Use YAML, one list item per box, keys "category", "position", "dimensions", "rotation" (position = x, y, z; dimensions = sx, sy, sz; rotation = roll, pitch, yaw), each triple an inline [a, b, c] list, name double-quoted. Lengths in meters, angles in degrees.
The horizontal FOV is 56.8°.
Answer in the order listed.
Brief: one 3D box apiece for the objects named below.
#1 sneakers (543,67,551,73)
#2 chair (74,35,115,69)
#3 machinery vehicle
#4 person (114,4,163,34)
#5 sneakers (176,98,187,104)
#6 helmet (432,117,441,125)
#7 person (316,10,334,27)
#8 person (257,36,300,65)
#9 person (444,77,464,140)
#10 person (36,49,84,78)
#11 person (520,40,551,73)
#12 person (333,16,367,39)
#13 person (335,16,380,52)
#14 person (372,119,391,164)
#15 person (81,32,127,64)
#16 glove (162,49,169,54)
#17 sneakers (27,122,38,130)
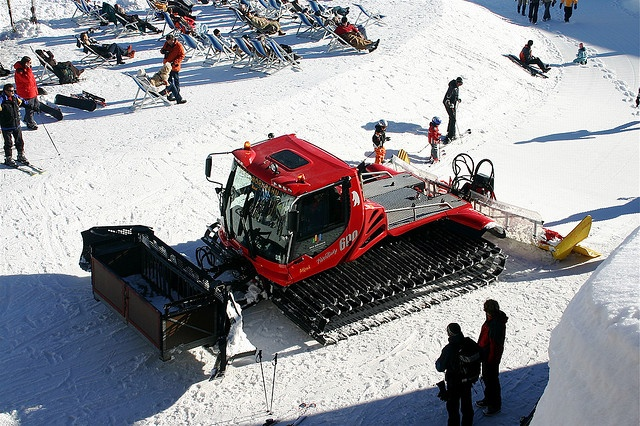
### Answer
- category: "sneakers"
  position: [9.137, -5.785, 23.827]
  dimensions: [0.154, 0.208, 0.474]
  rotation: [14, 36, 30]
- category: "chair"
  position: [-7.998, -5.760, 20.968]
  dimensions: [1.597, 1.135, 1.067]
  rotation: [-7, 36, -14]
- category: "machinery vehicle"
  position: [0.435, 0.028, 13.110]
  dimensions: [9.875, 3.080, 6.425]
  rotation: [-14, 24, -31]
- category: "person"
  position: [-7.348, -7.840, 23.810]
  dimensions: [2.247, 1.402, 0.918]
  rotation: [-4, 25, -6]
- category: "sneakers"
  position: [-4.350, -3.493, 18.484]
  dimensions: [0.105, 0.141, 0.317]
  rotation: [21, 31, 39]
- category: "helmet"
  position: [3.368, -2.678, 17.068]
  dimensions: [0.265, 0.242, 0.221]
  rotation: [-5, 73, -18]
- category: "person"
  position: [0.196, -7.625, 23.230]
  dimensions: [0.780, 0.366, 1.068]
  rotation: [27, 21, 21]
- category: "person"
  position: [-1.603, -5.722, 21.020]
  dimensions: [1.454, 0.915, 1.025]
  rotation: [3, 4, -15]
- category: "person"
  position: [4.056, -3.178, 18.261]
  dimensions: [0.577, 1.878, 1.083]
  rotation: [11, 46, 10]
- category: "person"
  position: [-8.691, -4.962, 19.283]
  dimensions: [1.458, 0.740, 0.525]
  rotation: [-19, 18, -22]
- category: "person"
  position: [8.638, -6.269, 23.753]
  dimensions: [1.242, 0.887, 0.809]
  rotation: [18, 48, 16]
- category: "person"
  position: [1.083, -6.914, 22.990]
  dimensions: [1.130, 0.612, 0.881]
  rotation: [36, 67, 29]
- category: "person"
  position: [1.370, -6.827, 22.701]
  dimensions: [1.797, 0.855, 1.129]
  rotation: [26, 34, 3]
- category: "person"
  position: [1.730, -1.973, 16.797]
  dimensions: [0.647, 1.766, 0.641]
  rotation: [1, 45, 8]
- category: "person"
  position: [-7.756, -5.725, 20.911]
  dimensions: [1.362, 0.885, 0.840]
  rotation: [-10, -4, -17]
- category: "glove"
  position: [-5.107, -5.270, 19.339]
  dimensions: [0.312, 0.121, 0.235]
  rotation: [-4, 15, -26]
- category: "sneakers"
  position: [-8.178, -2.447, 16.745]
  dimensions: [0.329, 0.156, 0.125]
  rotation: [10, 46, 18]
